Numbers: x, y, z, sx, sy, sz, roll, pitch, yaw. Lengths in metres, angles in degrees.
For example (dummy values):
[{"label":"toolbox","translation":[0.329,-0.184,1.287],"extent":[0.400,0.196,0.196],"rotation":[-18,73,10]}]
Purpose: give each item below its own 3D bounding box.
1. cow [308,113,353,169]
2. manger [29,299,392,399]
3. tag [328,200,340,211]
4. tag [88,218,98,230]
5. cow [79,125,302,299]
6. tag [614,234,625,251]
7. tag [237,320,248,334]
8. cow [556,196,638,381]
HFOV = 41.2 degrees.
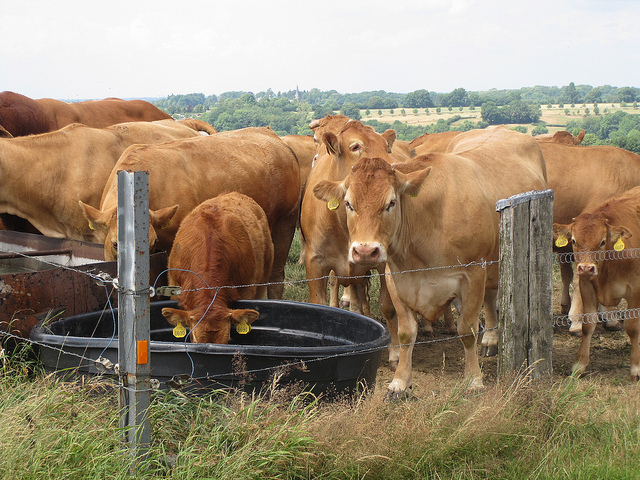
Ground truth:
[{"label":"cow","translation":[0.245,-1.195,10.062],"extent":[0.266,0.374,0.674],"rotation":[-31,21,-25]},{"label":"manger","translation":[-1.026,0.959,7.639],"extent":[2.975,0.866,2.006],"rotation":[0,-4,-22]},{"label":"tag","translation":[0.133,-0.337,8.323],"extent":[0.088,0.091,0.022],"rotation":[-3,1,5]},{"label":"tag","translation":[-2.342,-0.165,8.761],"extent":[0.106,0.027,0.106],"rotation":[32,-15,-5]},{"label":"cow","translation":[-1.620,-0.673,10.586],"extent":[1.171,2.210,4.139],"rotation":[2,4,31]},{"label":"tag","translation":[3.122,0.023,8.890],"extent":[0.102,0.184,0.288],"rotation":[-2,-4,19]},{"label":"tag","translation":[-0.709,0.785,7.731],"extent":[0.077,0.110,0.026],"rotation":[1,-9,-11]},{"label":"cow","translation":[3.071,0.476,9.074],"extent":[0.818,1.968,0.892],"rotation":[-2,-4,10]}]
